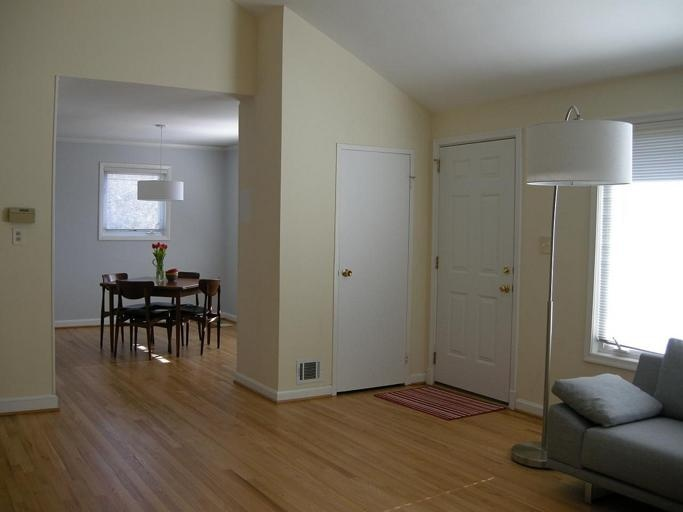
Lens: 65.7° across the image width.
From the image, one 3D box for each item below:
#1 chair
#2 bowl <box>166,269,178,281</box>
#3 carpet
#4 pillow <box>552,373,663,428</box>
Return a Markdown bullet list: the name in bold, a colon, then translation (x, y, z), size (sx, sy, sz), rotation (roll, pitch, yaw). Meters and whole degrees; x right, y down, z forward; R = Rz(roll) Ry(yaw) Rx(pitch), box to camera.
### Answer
- **chair**: translation (-2.325, 0.671, 6.885), size (1.155, 0.796, 1.223), rotation (0, 1, 7)
- **bowl**: translation (-2.281, 0.257, 7.103), size (0.141, 0.134, 0.165), rotation (2, -4, -11)
- **carpet**: translation (0.973, 1.445, 5.253), size (1.132, 0.017, 0.772), rotation (6, 7, 45)
- **pillow**: translation (1.751, 0.944, 3.545), size (0.404, 0.128, 0.361), rotation (-2, 19, -31)
